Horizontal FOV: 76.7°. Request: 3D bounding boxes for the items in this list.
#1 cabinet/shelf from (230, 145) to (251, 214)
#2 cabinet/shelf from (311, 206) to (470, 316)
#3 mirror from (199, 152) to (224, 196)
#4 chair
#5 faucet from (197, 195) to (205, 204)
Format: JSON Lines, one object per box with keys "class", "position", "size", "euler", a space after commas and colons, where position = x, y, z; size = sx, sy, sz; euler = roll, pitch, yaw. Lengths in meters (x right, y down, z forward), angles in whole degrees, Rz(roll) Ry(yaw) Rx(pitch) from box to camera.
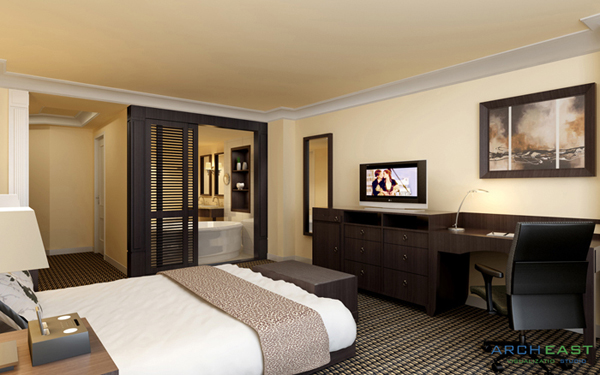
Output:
{"class": "cabinet/shelf", "position": [-1.356, -0.190, 8.809], "size": [0.388, 1.552, 0.867], "euler": [-7, 12, -31]}
{"class": "cabinet/shelf", "position": [1.290, 0.972, 5.975], "size": [0.870, 1.284, 2.592], "euler": [0, -1, -35]}
{"class": "mirror", "position": [-2.392, -0.349, 10.355], "size": [0.157, 0.931, 1.341], "euler": [0, -2, -36]}
{"class": "chair", "position": [2.412, 1.102, 3.928], "size": [0.921, 1.600, 0.528], "euler": [-1, 10, -2]}
{"class": "faucet", "position": [-2.790, 0.338, 10.750], "size": [0.124, 0.250, 0.444], "euler": [-6, 10, -27]}
